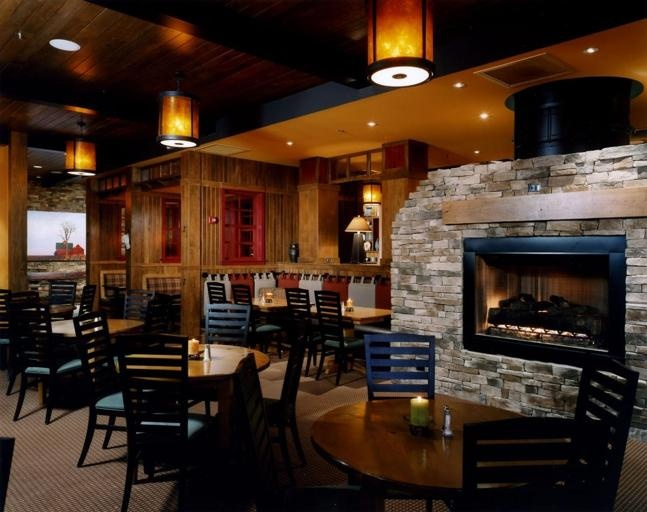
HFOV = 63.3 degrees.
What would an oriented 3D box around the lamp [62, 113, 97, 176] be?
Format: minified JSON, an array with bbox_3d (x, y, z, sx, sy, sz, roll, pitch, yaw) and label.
[{"bbox_3d":[-3.430,-1.600,7.412,0.505,0.750,0.443,7,12,11],"label":"lamp"}]

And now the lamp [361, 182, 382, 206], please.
[{"bbox_3d":[0.993,-1.250,10.579,0.516,0.445,0.484,1,-1,-34],"label":"lamp"}]
